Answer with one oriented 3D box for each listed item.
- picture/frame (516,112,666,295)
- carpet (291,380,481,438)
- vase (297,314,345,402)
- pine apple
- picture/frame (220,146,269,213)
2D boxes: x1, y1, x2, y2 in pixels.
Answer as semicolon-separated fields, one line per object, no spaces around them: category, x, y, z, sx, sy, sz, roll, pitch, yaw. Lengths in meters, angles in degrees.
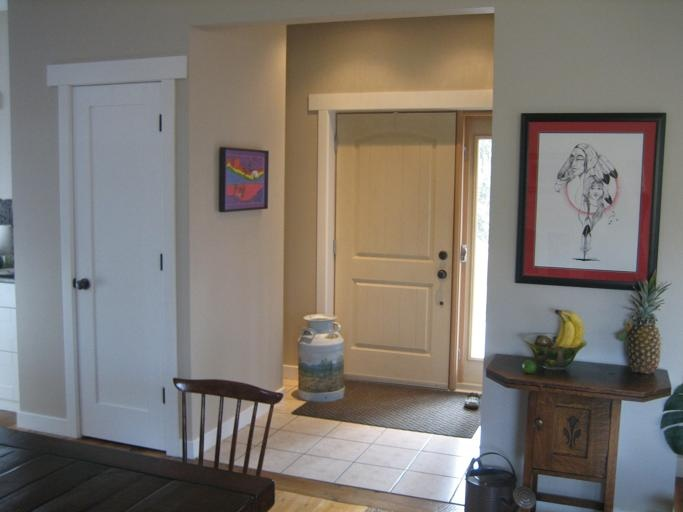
picture/frame;1.387;-0.306;3.115;0.740;0.978;0.060;2;4;20
carpet;0.437;1.233;4.747;1.400;0.025;1.047;1;4;19
vase;-0.181;0.854;4.789;0.329;0.735;0.331;9;11;41
pine apple;1.603;0.381;3.047;0.185;0.496;0.211;1;-2;-32
picture/frame;-0.707;-0.543;4.148;0.079;0.451;0.563;8;11;23
